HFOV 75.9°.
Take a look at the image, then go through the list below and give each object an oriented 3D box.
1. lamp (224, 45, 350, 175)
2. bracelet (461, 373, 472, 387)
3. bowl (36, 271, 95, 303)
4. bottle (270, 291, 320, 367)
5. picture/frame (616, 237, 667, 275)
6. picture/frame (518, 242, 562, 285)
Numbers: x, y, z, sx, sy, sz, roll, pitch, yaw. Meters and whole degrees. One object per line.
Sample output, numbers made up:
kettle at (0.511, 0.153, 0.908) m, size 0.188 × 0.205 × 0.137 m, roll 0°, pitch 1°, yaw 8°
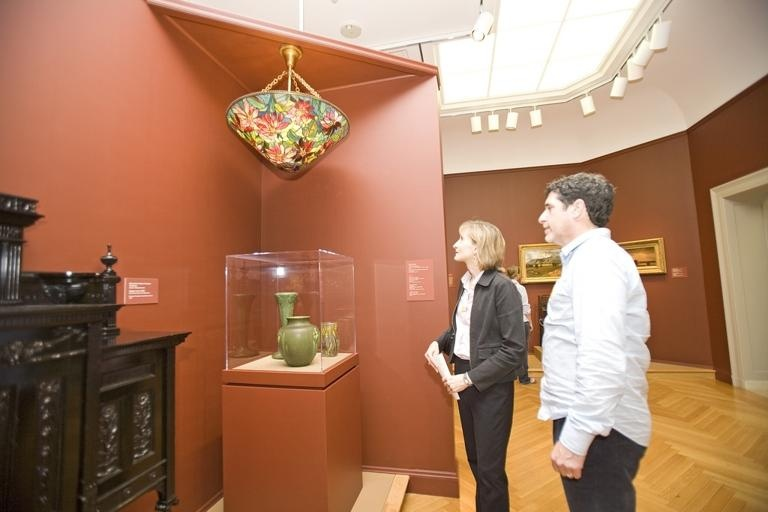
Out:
lamp at (-0.875, -1.321, 4.630) m, size 1.097 × 1.267 × 1.118 m, roll 6°, pitch -28°, yaw -17°
bracelet at (0.622, 0.926, 3.700) m, size 0.058 × 0.093 × 0.085 m, roll -9°, pitch -41°, yaw -18°
bowl at (-2.052, 0.184, 3.214) m, size 0.206 × 0.137 × 0.221 m, roll 1°, pitch -1°, yaw 0°
bottle at (-0.703, 0.584, 3.996) m, size 0.353 × 0.568 × 0.250 m, roll -4°, pitch 8°, yaw -4°
picture/frame at (3.626, -0.005, 6.802) m, size 0.045 × 0.433 × 0.585 m, roll 3°, pitch -3°, yaw -45°
picture/frame at (2.762, 0.149, 8.708) m, size 0.726 × 0.655 × 0.080 m, roll 1°, pitch 1°, yaw 12°
